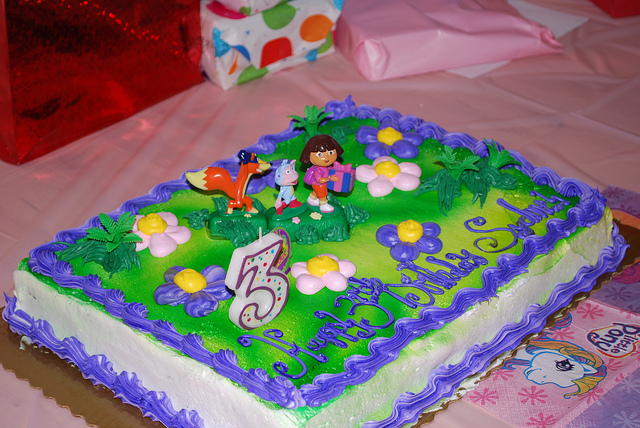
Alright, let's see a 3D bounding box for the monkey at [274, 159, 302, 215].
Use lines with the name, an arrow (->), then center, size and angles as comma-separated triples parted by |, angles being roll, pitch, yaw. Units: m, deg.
monkey -> -0.290, -0.227, 4.897 | 0.204, 0.460, 0.297 | 11, 32, 35
